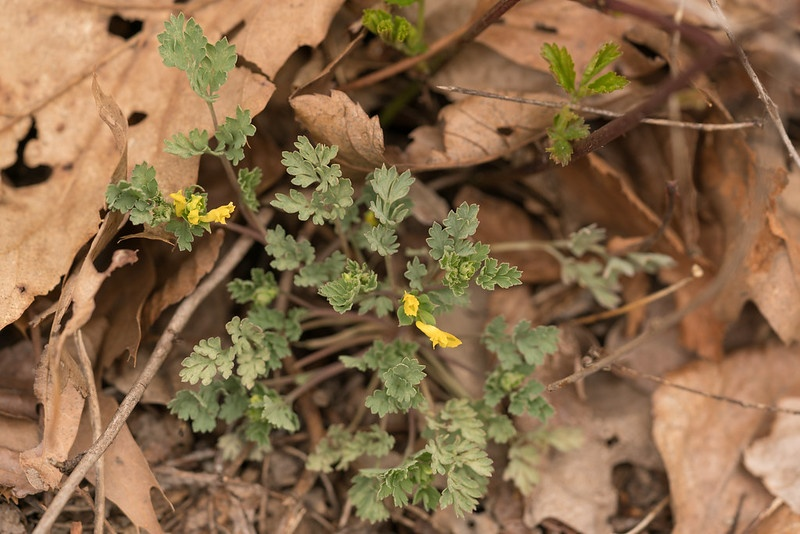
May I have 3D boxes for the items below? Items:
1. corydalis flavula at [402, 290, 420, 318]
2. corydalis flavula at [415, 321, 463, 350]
[{"bbox_3d":[0.036,0.141,3.057,0.067,0.078,0.054,8,-19,-3],"label":"corydalis flavula"},{"bbox_3d":[0.137,0.264,3.091,0.162,0.102,0.059,41,16,-13],"label":"corydalis flavula"}]
